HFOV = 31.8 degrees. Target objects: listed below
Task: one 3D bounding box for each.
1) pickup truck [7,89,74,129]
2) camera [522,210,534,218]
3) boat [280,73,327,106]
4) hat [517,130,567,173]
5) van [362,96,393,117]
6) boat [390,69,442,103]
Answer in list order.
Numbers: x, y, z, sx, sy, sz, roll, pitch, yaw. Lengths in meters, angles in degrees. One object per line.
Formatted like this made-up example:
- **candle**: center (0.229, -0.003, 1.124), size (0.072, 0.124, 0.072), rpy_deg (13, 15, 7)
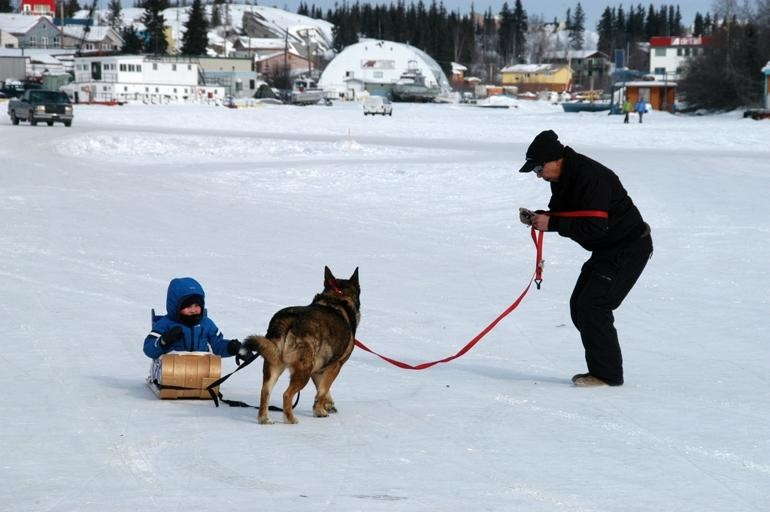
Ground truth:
- **pickup truck**: center (-12.287, -5.418, 48.891), size (1.721, 1.302, 2.600), rpy_deg (-4, 8, -40)
- **camera**: center (2.062, -0.613, 19.380), size (0.126, 0.045, 0.126), rpy_deg (8, -5, 18)
- **boat**: center (-6.016, -13.328, 109.838), size (2.216, 2.246, 6.181), rpy_deg (4, 9, 15)
- **hat**: center (2.309, -1.561, 19.395), size (0.785, 0.502, 0.561), rpy_deg (-13, 11, -7)
- **van**: center (-0.209, -8.077, 72.455), size (1.042, 0.812, 1.798), rpy_deg (1, 10, 9)
- **boat**: center (3.021, -14.290, 113.918), size (2.049, 2.726, 6.864), rpy_deg (2, 5, 21)
